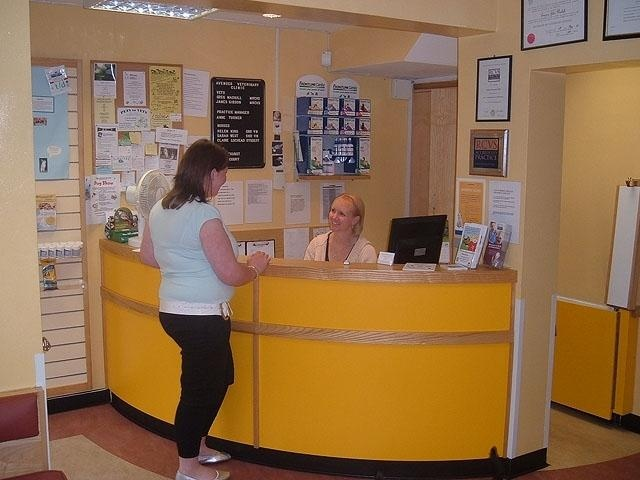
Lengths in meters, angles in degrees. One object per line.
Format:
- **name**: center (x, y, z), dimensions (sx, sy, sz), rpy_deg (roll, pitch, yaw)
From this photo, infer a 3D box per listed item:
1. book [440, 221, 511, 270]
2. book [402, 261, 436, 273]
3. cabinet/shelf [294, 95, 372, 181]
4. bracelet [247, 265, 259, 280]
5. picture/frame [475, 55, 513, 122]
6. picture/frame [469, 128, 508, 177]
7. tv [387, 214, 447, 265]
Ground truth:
- **book**: center (1.048, 0.045, 3.437), dimensions (0.360, 0.363, 0.305), rpy_deg (13, -7, 29)
- **book**: center (0.645, 0.178, 3.290), dimensions (0.220, 0.018, 0.235), rpy_deg (4, 11, 9)
- **cabinet/shelf**: center (0.201, -1.073, 5.405), dimensions (0.866, 0.885, 0.295), rpy_deg (-5, 10, -18)
- **bracelet**: center (-0.412, 0.196, 3.101), dimensions (0.033, 0.062, 0.078), rpy_deg (-27, 24, -8)
- **picture/frame**: center (1.157, -1.010, 3.422), dimensions (0.237, 0.418, 0.025), rpy_deg (-1, 12, 4)
- **picture/frame**: center (1.151, -0.595, 3.457), dimensions (0.061, 0.332, 0.295), rpy_deg (-9, 13, -36)
- **tv**: center (0.657, 0.006, 3.449), dimensions (0.310, 0.328, 0.099), rpy_deg (-1, 14, -22)
